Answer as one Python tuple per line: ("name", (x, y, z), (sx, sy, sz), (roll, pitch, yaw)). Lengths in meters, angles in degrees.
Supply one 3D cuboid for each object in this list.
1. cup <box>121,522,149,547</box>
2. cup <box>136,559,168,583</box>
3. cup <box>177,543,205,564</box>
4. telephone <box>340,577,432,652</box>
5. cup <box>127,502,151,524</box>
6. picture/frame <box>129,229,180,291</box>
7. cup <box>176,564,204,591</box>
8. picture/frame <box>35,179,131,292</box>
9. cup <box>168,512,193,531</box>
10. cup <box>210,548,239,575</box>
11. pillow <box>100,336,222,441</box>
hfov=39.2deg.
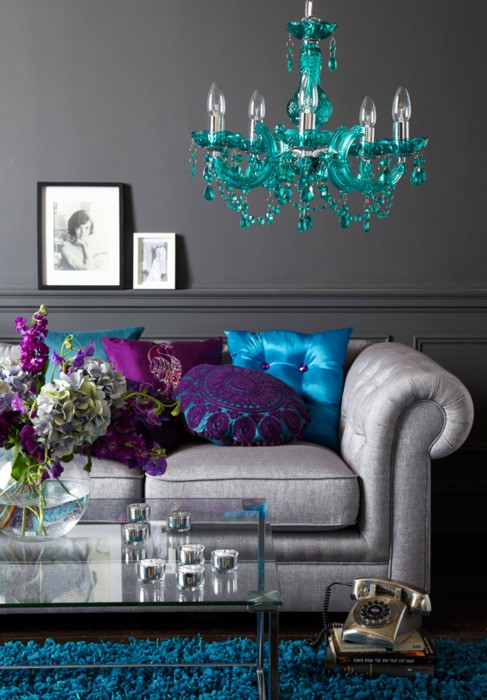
("cup", (-0.235, 0.397, 1.457), (0.041, 0.028, 0.040), (0, -4, 0))
("cup", (-0.175, 0.420, 1.292), (0.048, 0.032, 0.031), (-1, 4, -14))
("cup", (-0.101, 0.409, 1.371), (0.034, 0.021, 0.034), (-1, 3, 0))
("telephone", (0.365, 0.698, 1.790), (0.209, 0.161, 0.124), (0, 3, 0))
("cup", (-0.243, 0.377, 1.567), (0.038, 0.028, 0.038), (2, 4, 0))
("picture/frame", (-0.422, -0.423, 3.188), (0.302, 0.388, 0.055), (0, 1, -3))
("cup", (-0.107, 0.423, 1.272), (0.037, 0.026, 0.037), (0, 0, 0))
("picture/frame", (-0.765, -0.538, 3.181), (0.538, 0.630, 0.029), (0, 2, -3))
("cup", (-0.147, 0.381, 1.524), (0.039, 0.026, 0.038), (1, 0, 0))
("cup", (-0.032, 0.421, 1.352), (0.039, 0.026, 0.039), (0, 3, 0))
("pillow", (-0.249, 0.121, 2.097), (0.356, 0.357, 0.127), (2, -25, -19))
